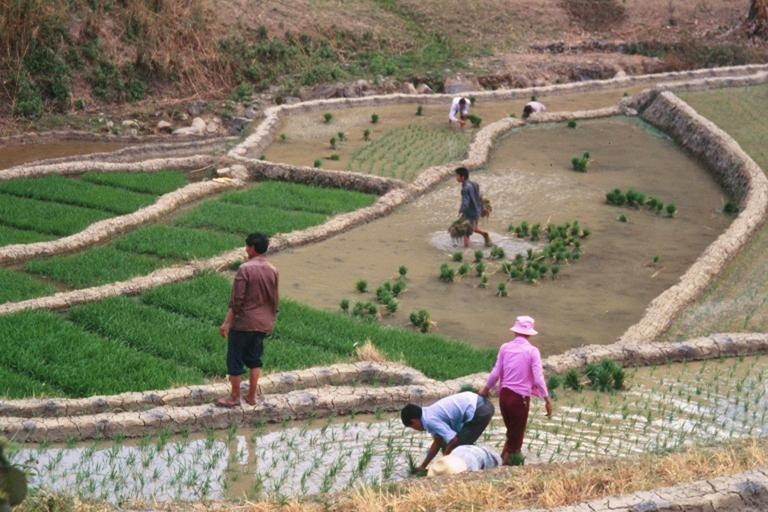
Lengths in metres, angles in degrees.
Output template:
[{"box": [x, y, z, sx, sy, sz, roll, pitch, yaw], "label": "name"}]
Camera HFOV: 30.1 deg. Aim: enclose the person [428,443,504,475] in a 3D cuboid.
[{"box": [2.037, 5.189, 36.161, 1.862, 0.645, 0.651, 0, 22, -11], "label": "person"}]
